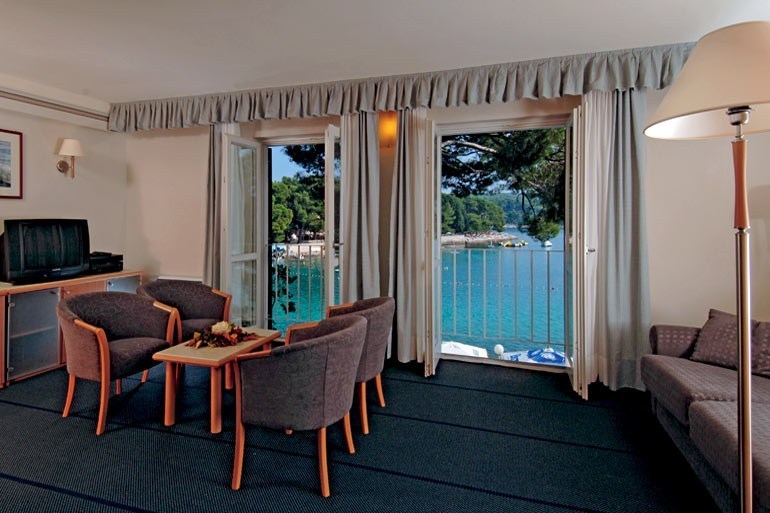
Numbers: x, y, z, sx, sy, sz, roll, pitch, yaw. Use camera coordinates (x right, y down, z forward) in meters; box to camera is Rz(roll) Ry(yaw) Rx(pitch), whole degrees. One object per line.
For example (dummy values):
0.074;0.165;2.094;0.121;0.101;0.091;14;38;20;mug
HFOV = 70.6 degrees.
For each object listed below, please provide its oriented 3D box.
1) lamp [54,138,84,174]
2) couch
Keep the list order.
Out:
-3.535;-1.109;6.088;0.268;0.426;0.339;-4;6;-31;lamp
2.362;1.207;3.991;0.427;0.526;1.342;5;12;18;couch
